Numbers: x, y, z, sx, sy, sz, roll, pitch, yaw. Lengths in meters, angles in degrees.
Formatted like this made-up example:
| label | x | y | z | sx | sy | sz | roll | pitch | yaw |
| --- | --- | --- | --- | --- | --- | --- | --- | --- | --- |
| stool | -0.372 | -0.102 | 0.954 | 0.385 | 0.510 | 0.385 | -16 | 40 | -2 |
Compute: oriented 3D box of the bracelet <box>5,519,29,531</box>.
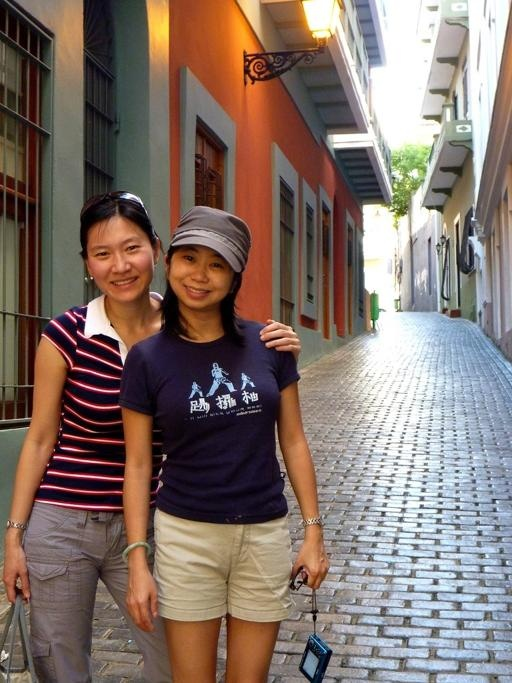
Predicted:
| label | x | y | z | sx | sy | sz | roll | pitch | yaw |
| --- | --- | --- | --- | --- | --- | --- | --- | --- | --- |
| bracelet | -0.604 | 0.459 | 1.457 | 0.036 | 0.031 | 0.042 | 4 | -5 | 0 |
